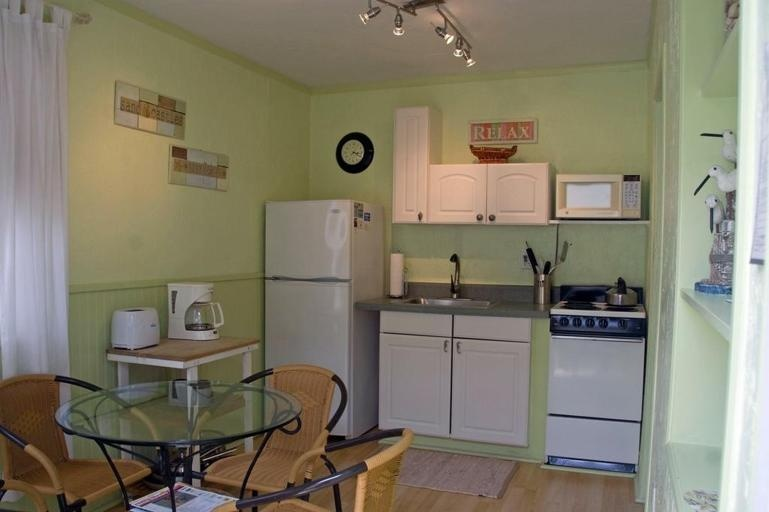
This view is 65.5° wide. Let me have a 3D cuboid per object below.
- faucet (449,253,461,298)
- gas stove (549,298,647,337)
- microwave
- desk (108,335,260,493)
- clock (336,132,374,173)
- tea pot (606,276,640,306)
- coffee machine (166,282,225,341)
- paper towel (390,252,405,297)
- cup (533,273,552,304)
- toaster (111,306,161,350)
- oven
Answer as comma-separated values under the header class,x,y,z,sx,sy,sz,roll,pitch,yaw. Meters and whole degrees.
class,x,y,z,sx,sy,sz,roll,pitch,yaw
faucet,0.626,0.169,5.331,0.105,0.391,0.156,1,6,6
gas stove,1.576,0.477,4.446,0.672,0.207,0.273,2,6,16
microwave,1.671,-0.466,4.696,0.629,0.358,0.150,2,6,14
desk,-1.329,1.009,4.282,0.812,1.026,1.095,3,5,25
clock,-0.288,-0.978,5.623,0.364,0.361,0.074,11,7,20
tea pot,1.824,0.263,4.600,0.227,0.208,0.223,0,0,0
coffee machine,-1.294,0.388,4.261,0.363,0.413,0.333,4,3,12
paper towel,0.133,0.167,5.360,0.169,0.388,0.123,-3,7,-29
cup,1.301,0.258,4.937,0.123,0.259,0.095,2,6,9
toaster,-1.593,0.437,3.925,0.243,0.285,0.313,1,0,31
oven,1.615,1.069,4.613,0.646,0.895,0.716,1,0,22
